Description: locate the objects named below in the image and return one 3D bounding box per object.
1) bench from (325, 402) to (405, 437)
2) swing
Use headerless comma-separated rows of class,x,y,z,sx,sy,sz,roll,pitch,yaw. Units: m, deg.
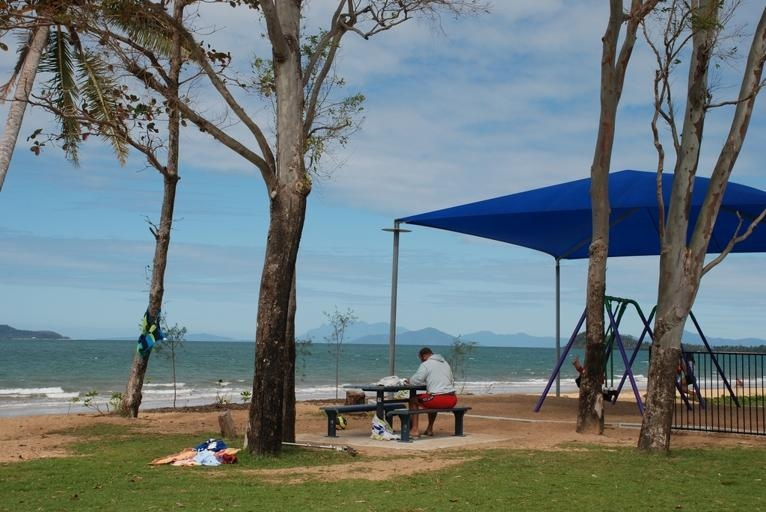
bench,-0.259,3.970,18.814,2.837,0.667,0.705,14,-19,-43
swing,5.731,2.894,21.698,1.192,2.974,7.469,0,-2,15
